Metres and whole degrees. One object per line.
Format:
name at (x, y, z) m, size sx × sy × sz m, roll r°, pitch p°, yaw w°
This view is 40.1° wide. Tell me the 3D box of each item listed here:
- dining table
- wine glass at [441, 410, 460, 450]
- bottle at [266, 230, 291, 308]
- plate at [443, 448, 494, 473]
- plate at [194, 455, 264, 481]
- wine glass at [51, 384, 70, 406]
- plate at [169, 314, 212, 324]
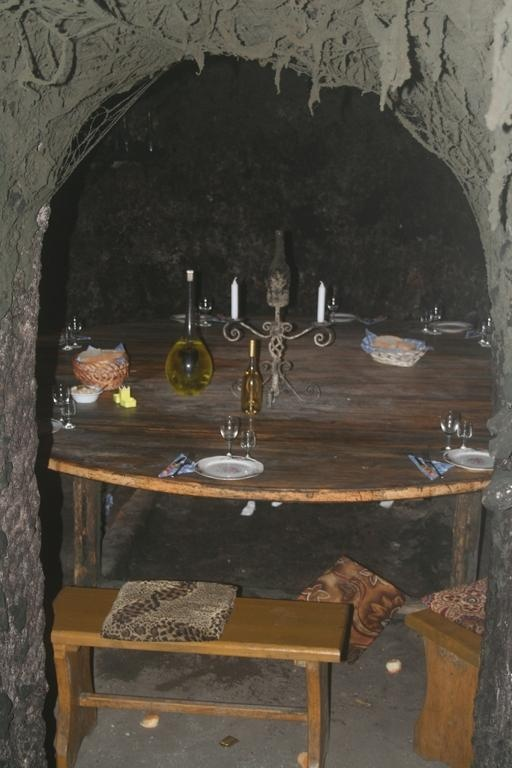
dining table at (0.135, 0.409, 2.690) m, size 1.440 × 0.352 × 1.289 m, roll 0°, pitch 17°, yaw 3°
wine glass at (0.696, 0.156, 2.505) m, size 0.065 × 0.123 × 0.205 m, roll 5°, pitch 6°, yaw 16°
bottle at (0.089, -0.450, 2.755) m, size 0.083 × 0.315 × 0.208 m, roll 3°, pitch 6°, yaw 0°
plate at (0.674, 0.245, 2.225) m, size 0.126 × 0.017 × 0.125 m, roll 14°, pitch 28°, yaw 27°
plate at (-0.083, 0.264, 2.207) m, size 0.222 × 0.037 × 0.209 m, roll 5°, pitch 6°, yaw 22°
wine glass at (-0.776, 0.045, 2.788) m, size 0.059 × 0.066 × 0.059 m, roll 17°, pitch 27°, yaw 20°
plate at (-0.418, -0.448, 4.835) m, size 0.169 × 0.035 × 0.167 m, roll 2°, pitch 16°, yaw 3°
